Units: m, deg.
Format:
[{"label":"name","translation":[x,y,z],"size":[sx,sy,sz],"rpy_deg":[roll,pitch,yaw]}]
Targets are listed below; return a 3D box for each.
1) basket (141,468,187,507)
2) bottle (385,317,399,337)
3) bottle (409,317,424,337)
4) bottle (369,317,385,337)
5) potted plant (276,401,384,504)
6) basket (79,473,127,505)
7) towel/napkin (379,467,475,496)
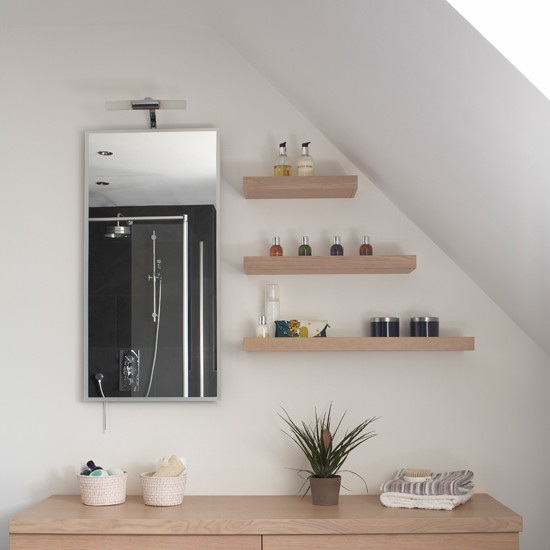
[{"label":"basket","translation":[-0.434,0.842,2.732],"size":[0.155,0.073,0.137],"rpy_deg":[5,-7,-39]},{"label":"bottle","translation":[0.490,0.221,2.869],"size":[0.087,0.071,0.076],"rpy_deg":[1,-1,7]},{"label":"bottle","translation":[0.590,0.221,2.873],"size":[0.085,0.072,0.077],"rpy_deg":[1,-1,21]},{"label":"bottle","translation":[0.423,0.211,2.869],"size":[0.088,0.074,0.078],"rpy_deg":[3,-5,-16]},{"label":"potted plant","translation":[0.195,0.728,2.783],"size":[0.431,0.271,0.348],"rpy_deg":[1,-6,-8]},{"label":"basket","translation":[-0.675,0.843,2.746],"size":[0.160,0.074,0.139],"rpy_deg":[-1,-5,6]},{"label":"towel/napkin","translation":[0.617,0.815,2.735],"size":[0.319,0.070,0.267],"rpy_deg":[-1,-3,23]}]
